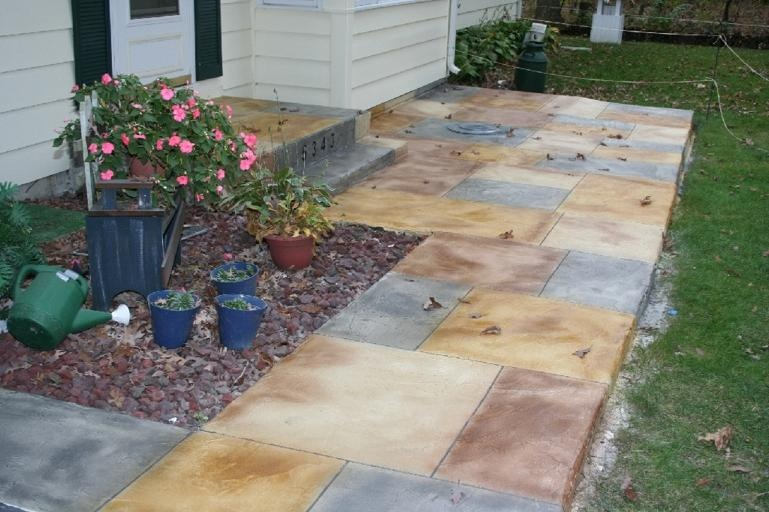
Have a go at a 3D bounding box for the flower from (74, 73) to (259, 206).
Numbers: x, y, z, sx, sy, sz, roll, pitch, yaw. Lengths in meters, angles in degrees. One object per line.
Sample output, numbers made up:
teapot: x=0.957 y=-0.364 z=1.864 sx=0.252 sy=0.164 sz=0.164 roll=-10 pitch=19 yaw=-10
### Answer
flower: x=-1.791 y=-0.925 z=4.875 sx=1.789 sy=0.781 sz=1.326 roll=1 pitch=0 yaw=-2

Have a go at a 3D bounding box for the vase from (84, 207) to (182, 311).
vase: x=-1.876 y=0.034 z=3.946 sx=0.565 sy=0.475 sz=0.875 roll=-1 pitch=16 yaw=-5

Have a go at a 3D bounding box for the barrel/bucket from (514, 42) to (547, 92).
barrel/bucket: x=3.420 y=-4.378 z=12.278 sx=0.676 sy=1.121 sz=0.794 roll=6 pitch=26 yaw=8

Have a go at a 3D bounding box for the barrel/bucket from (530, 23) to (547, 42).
barrel/bucket: x=3.500 y=-5.083 z=12.082 sx=0.330 sy=0.361 sz=0.338 roll=1 pitch=24 yaw=-1
